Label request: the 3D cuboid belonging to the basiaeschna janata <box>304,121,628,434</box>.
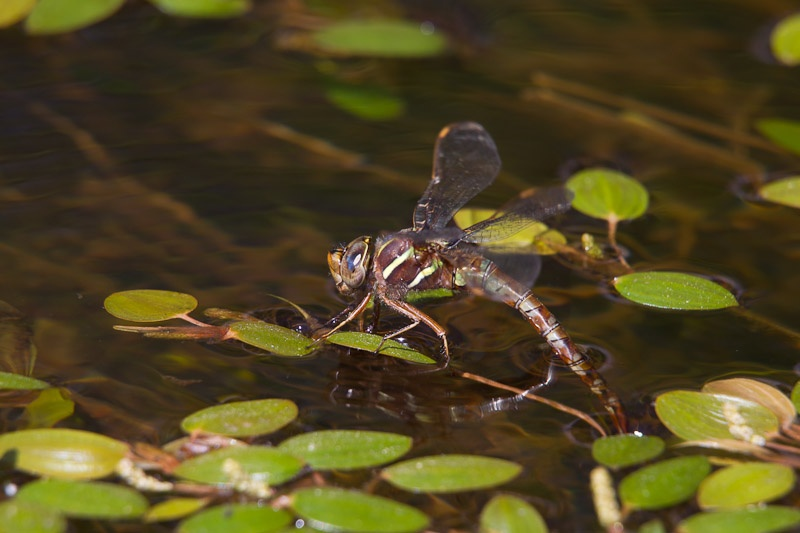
[{"bbox_3d":[0.066,0.038,1.821,0.799,0.321,0.574,6,40,-15],"label":"basiaeschna janata"}]
